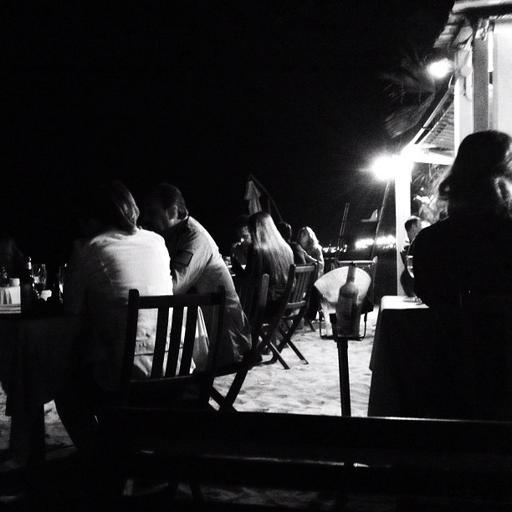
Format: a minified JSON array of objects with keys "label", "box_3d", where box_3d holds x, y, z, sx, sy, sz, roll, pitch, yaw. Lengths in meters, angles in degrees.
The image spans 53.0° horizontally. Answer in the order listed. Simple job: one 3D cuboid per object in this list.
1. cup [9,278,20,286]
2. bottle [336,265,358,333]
[{"label":"cup","box_3d":[-1.184,0.128,2.509,0.024,0.029,0.027,3,9,9]},{"label":"bottle","box_3d":[0.229,0.109,1.288,0.061,0.204,0.060,-2,12,0]}]
